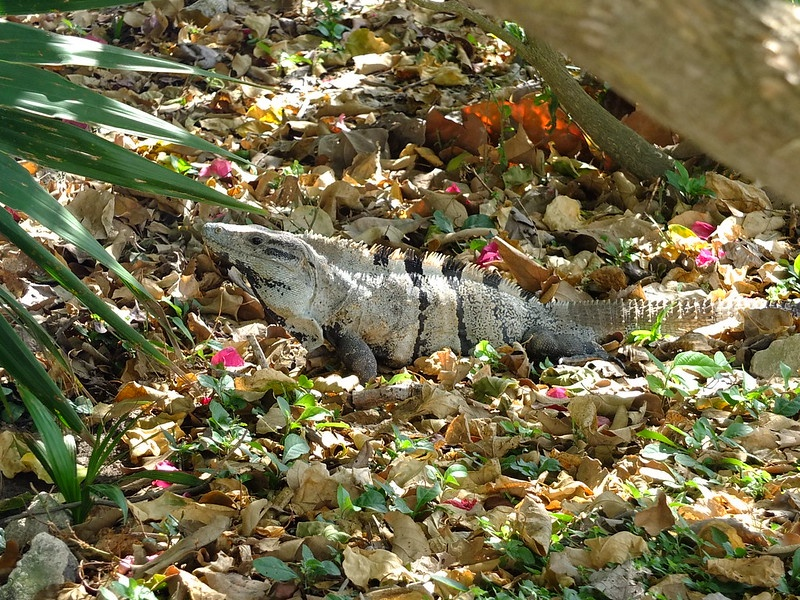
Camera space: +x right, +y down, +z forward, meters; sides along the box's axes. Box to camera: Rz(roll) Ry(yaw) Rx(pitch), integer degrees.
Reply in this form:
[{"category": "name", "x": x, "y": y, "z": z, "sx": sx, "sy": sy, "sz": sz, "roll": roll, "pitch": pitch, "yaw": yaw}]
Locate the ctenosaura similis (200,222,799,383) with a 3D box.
[{"category": "ctenosaura similis", "x": 0.082, "y": 0.027, "z": 4.239, "sx": 2.188, "sy": 0.725, "sz": 0.624, "roll": 12, "pitch": 41, "yaw": -22}]
